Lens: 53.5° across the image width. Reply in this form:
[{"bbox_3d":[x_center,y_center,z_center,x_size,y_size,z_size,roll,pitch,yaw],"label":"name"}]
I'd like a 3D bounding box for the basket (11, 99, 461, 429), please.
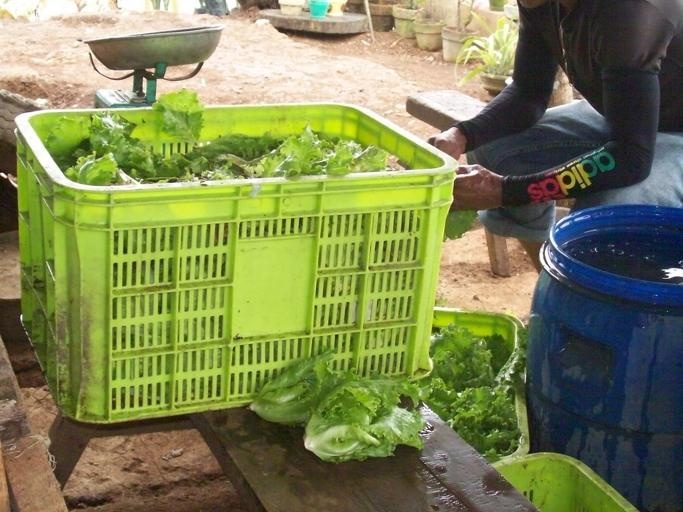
[{"bbox_3d":[-0.382,0.009,2.267,1.374,0.884,1.022,-7,26,-22],"label":"basket"}]

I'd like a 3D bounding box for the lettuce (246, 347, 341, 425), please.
[{"bbox_3d":[-0.124,0.355,1.753,0.259,0.093,0.140,-20,70,-2],"label":"lettuce"}]

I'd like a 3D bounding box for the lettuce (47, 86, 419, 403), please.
[{"bbox_3d":[-0.336,-0.100,1.984,0.936,0.574,0.840,-7,28,-20],"label":"lettuce"}]
